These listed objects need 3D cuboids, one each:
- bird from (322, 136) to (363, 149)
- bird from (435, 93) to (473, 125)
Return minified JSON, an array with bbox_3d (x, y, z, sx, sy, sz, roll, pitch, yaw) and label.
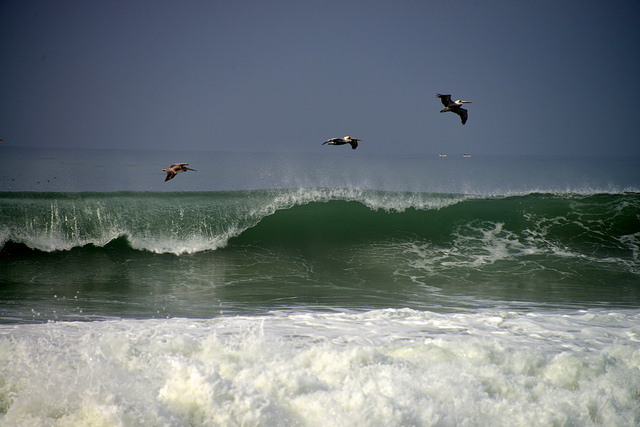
[{"bbox_3d":[0.504,-1.556,13.574,0.624,0.262,0.354,-1,14,-6],"label":"bird"},{"bbox_3d":[2.732,-2.133,12.571,0.516,0.549,0.625,1,14,4],"label":"bird"}]
